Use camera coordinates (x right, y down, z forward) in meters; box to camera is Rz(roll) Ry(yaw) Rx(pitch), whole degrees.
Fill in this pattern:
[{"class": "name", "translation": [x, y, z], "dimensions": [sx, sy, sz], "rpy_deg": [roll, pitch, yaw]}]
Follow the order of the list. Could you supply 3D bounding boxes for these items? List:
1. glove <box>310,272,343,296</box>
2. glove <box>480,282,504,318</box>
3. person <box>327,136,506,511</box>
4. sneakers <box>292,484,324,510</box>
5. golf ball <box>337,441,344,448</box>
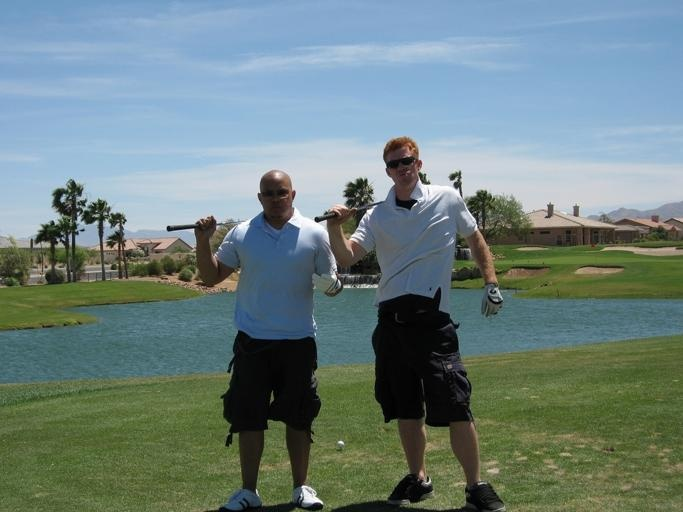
[{"class": "glove", "translation": [-0.097, 0.251, 6.326], "dimensions": [0.220, 0.110, 0.222], "rpy_deg": [37, 56, 23]}, {"class": "glove", "translation": [1.457, 0.433, 6.632], "dimensions": [0.274, 0.304, 0.141], "rpy_deg": [11, 10, 7]}, {"class": "person", "translation": [0.747, 0.542, 6.365], "dimensions": [1.443, 3.361, 0.894], "rpy_deg": [-1, 1, 12]}, {"class": "sneakers", "translation": [-0.247, 2.172, 6.121], "dimensions": [0.127, 0.120, 0.320], "rpy_deg": [5, -13, -38]}, {"class": "golf ball", "translation": [0.032, 2.074, 7.520], "dimensions": [0.056, 0.038, 0.054], "rpy_deg": [1, 1, 0]}]
